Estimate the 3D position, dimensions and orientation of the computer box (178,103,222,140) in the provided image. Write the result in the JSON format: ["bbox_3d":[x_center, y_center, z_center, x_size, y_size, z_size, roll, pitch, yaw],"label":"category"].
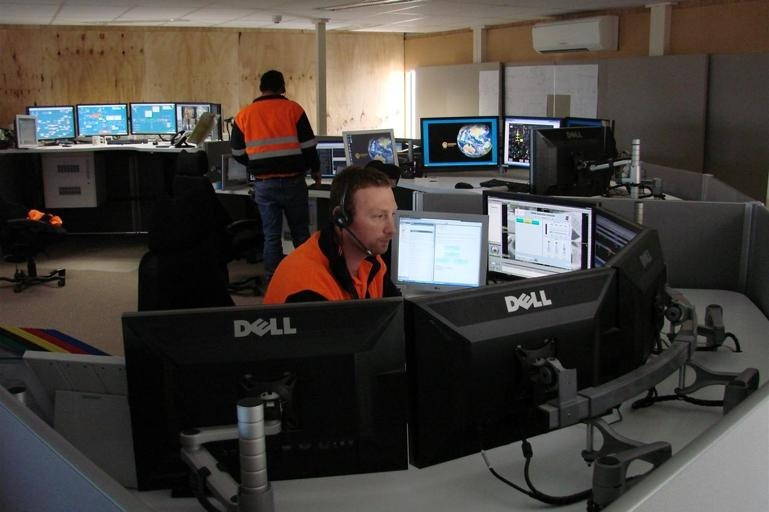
[{"bbox_3d":[-2.322,-1.728,7.908,0.654,0.559,0.349,1,29,-7],"label":"computer box"}]

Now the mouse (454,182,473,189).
[{"bbox_3d":[0.632,-0.551,4.973,0.118,0.037,0.067,-5,10,-24],"label":"mouse"}]

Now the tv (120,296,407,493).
[{"bbox_3d":[-0.316,0.382,1.713,0.591,0.390,0.078,-2,10,-6],"label":"tv"}]

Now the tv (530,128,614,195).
[{"bbox_3d":[1.141,-0.582,3.881,0.497,0.370,0.157,-4,11,-21],"label":"tv"}]

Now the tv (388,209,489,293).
[{"bbox_3d":[0.260,-0.019,2.946,0.392,0.333,0.138,3,9,5],"label":"tv"}]

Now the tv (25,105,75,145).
[{"bbox_3d":[-3.866,-1.513,7.249,0.077,0.376,0.552,11,16,31],"label":"tv"}]

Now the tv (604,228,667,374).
[{"bbox_3d":[0.826,0.160,2.056,0.234,0.395,0.456,1,10,16],"label":"tv"}]

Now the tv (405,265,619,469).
[{"bbox_3d":[0.383,0.348,1.835,0.594,0.423,0.108,-8,13,-22],"label":"tv"}]
